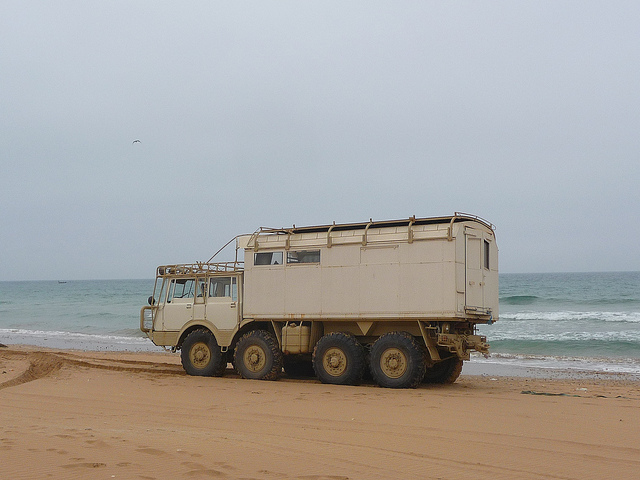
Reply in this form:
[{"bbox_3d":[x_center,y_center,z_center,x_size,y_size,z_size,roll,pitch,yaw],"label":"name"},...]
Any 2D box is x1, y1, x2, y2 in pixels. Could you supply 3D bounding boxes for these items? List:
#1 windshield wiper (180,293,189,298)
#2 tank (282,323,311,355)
[{"bbox_3d":[-3.736,1.507,18.639,0.300,0.111,0.011,-1,-8,29],"label":"windshield wiper"},{"bbox_3d":[-0.569,2.471,17.007,0.597,0.747,0.640,-4,-4,20],"label":"tank"}]
